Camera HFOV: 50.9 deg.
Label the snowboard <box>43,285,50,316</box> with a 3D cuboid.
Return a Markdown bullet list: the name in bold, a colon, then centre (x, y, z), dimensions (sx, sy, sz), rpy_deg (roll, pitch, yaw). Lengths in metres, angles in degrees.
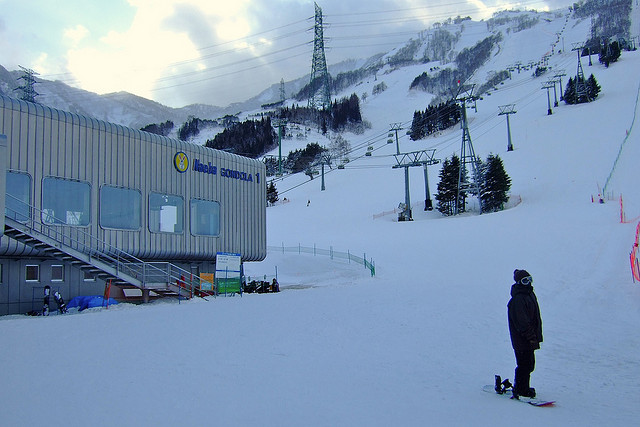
- **snowboard**: centre (-13.676, 4.405, 33.669), dimensions (0.385, 1.701, 0.564), rpy_deg (1, 0, -23)

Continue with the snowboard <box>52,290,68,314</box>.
- **snowboard**: centre (-13.412, 4.569, 34.585), dimensions (0.276, 1.015, 0.373), rpy_deg (-14, 9, 33)
